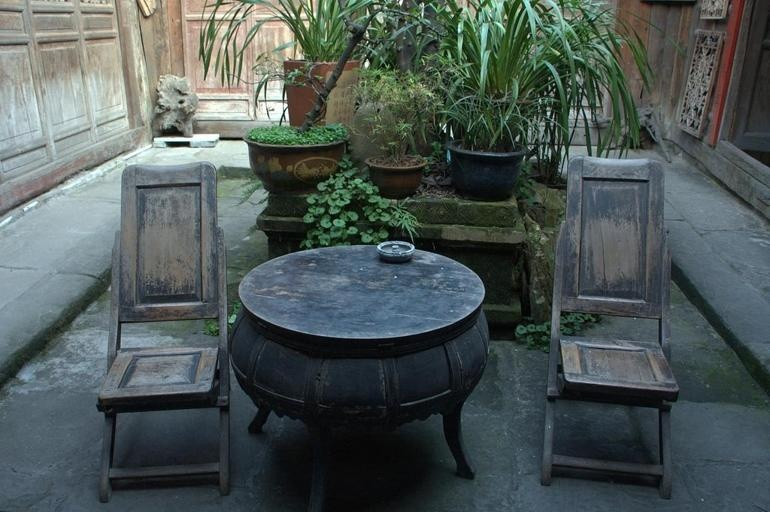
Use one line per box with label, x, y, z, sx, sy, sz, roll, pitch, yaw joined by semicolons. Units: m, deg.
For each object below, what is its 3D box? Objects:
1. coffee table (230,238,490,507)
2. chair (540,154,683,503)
coffee table;-0.249;0.381;2.530;1.242;0.845;1.215;-12;24;-33
chair;1.248;0.313;2.593;0.684;1.526;1.056;7;22;18
